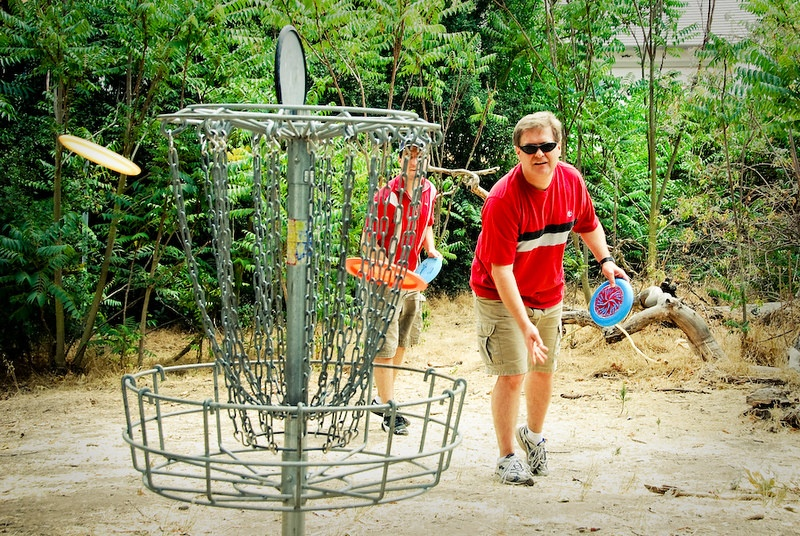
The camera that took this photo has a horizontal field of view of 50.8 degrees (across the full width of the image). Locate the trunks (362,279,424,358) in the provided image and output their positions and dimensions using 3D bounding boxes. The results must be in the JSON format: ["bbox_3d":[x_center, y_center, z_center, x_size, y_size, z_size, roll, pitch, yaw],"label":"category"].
[{"bbox_3d":[-0.063,0.402,6.861,0.311,0.814,0.838,0,5,25],"label":"trunks"}]

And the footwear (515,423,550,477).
[{"bbox_3d":[1.193,1.622,7.576,0.213,0.493,0.189,-27,-8,41],"label":"footwear"}]

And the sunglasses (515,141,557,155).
[{"bbox_3d":[1.164,-0.989,7.085,0.300,0.102,0.066,1,14,7],"label":"sunglasses"}]

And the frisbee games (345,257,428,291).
[{"bbox_3d":[-0.065,0.065,5.825,0.321,0.075,0.322,27,-19,-33],"label":"frisbee games"}]

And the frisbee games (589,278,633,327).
[{"bbox_3d":[1.861,0.296,7.248,0.384,0.397,0.112,-33,-34,30],"label":"frisbee games"}]

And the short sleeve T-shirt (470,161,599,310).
[{"bbox_3d":[1.208,-0.252,7.365,1.079,1.240,0.276,-7,15,-24],"label":"short sleeve T-shirt"}]

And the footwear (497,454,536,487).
[{"bbox_3d":[1.026,1.743,7.348,0.288,0.139,0.222,3,1,29],"label":"footwear"}]

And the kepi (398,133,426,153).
[{"bbox_3d":[0.088,-0.815,5.508,0.110,0.122,0.143,4,-38,-12],"label":"kepi"}]

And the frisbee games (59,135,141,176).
[{"bbox_3d":[-2.201,-0.834,6.264,0.532,0.292,0.523,-3,14,-10],"label":"frisbee games"}]
